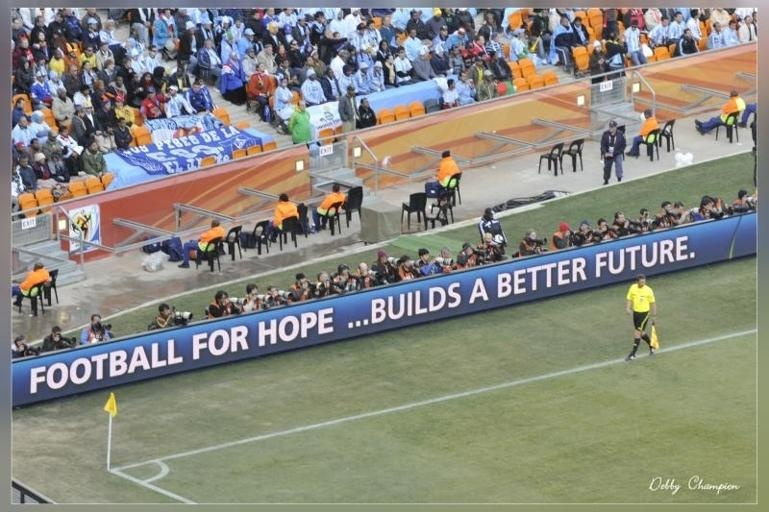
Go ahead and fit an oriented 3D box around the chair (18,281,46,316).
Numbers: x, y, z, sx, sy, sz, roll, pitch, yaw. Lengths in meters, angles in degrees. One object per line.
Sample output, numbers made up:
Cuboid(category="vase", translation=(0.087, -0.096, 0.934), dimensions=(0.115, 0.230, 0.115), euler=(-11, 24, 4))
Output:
Cuboid(category="chair", translation=(-8.505, 1.011, 45.348), dimensions=(0.628, 0.775, 0.671), euler=(15, 18, 25))
